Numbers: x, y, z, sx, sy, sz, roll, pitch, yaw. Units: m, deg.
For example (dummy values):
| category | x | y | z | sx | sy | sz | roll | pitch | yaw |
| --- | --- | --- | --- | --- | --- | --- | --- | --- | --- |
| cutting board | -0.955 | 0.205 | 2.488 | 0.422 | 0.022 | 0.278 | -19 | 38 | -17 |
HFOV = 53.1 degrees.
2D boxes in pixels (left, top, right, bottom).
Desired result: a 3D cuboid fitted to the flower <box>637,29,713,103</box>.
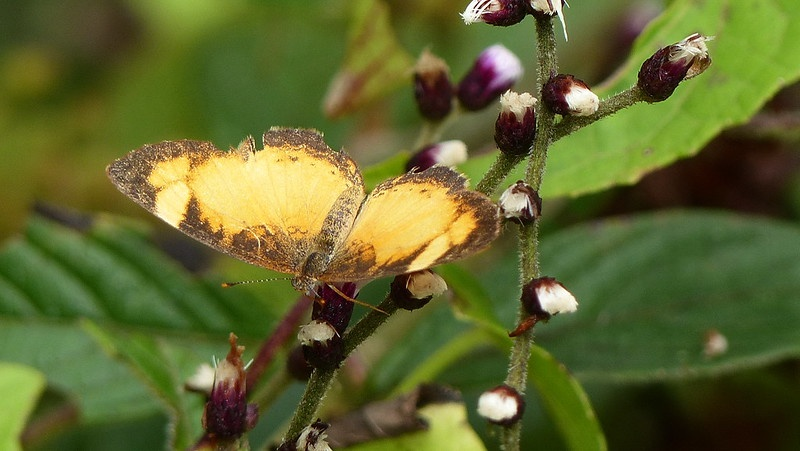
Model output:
| category | x | y | z | sx | sy | sz | roll | pitch | yaw |
| --- | --- | --- | --- | --- | --- | --- | --- | --- | --- |
| flower | 0.503 | -0.293 | 1.530 | 0.154 | 0.094 | 0.071 | -42 | 24 | 2 |
